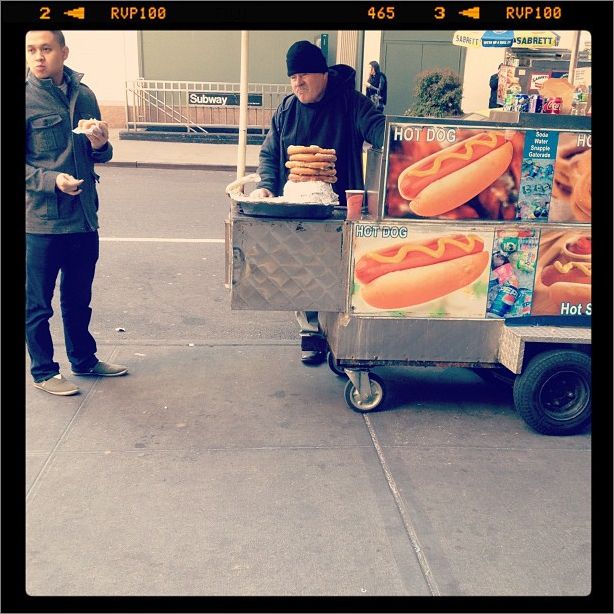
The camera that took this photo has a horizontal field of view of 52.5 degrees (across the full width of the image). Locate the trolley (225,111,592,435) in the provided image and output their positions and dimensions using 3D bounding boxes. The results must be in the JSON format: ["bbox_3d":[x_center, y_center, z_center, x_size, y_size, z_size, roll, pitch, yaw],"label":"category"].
[{"bbox_3d":[0.767,-0.324,4.165,2.252,1.762,1.872,2,12,-2],"label":"trolley"}]

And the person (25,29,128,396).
[{"bbox_3d":[-1.523,-0.526,3.970,0.640,2.233,0.833,-3,11,-17],"label":"person"}]

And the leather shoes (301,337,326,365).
[{"bbox_3d":[0.042,0.337,4.749,0.213,0.261,0.155,0,4,-9],"label":"leather shoes"}]

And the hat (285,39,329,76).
[{"bbox_3d":[0.002,-1.604,4.021,0.252,0.200,0.192,-11,34,-17],"label":"hat"}]

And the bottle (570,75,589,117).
[{"bbox_3d":[1.678,-1.279,3.822,0.099,0.218,0.288,5,11,22],"label":"bottle"}]

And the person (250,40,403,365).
[{"bbox_3d":[0.241,-0.686,4.185,1.171,2.212,0.887,-4,6,12],"label":"person"}]

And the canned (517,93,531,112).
[{"bbox_3d":[1.288,-1.221,3.726,0.058,0.107,0.136,0,11,-2],"label":"canned"}]

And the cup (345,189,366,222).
[{"bbox_3d":[0.274,-0.596,3.642,0.148,0.220,0.153,1,4,0],"label":"cup"}]

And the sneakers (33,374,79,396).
[{"bbox_3d":[-1.658,0.501,4.127,0.265,0.105,0.131,4,7,14],"label":"sneakers"}]

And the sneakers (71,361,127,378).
[{"bbox_3d":[-1.489,0.435,4.470,0.374,0.124,0.143,1,1,-8],"label":"sneakers"}]
